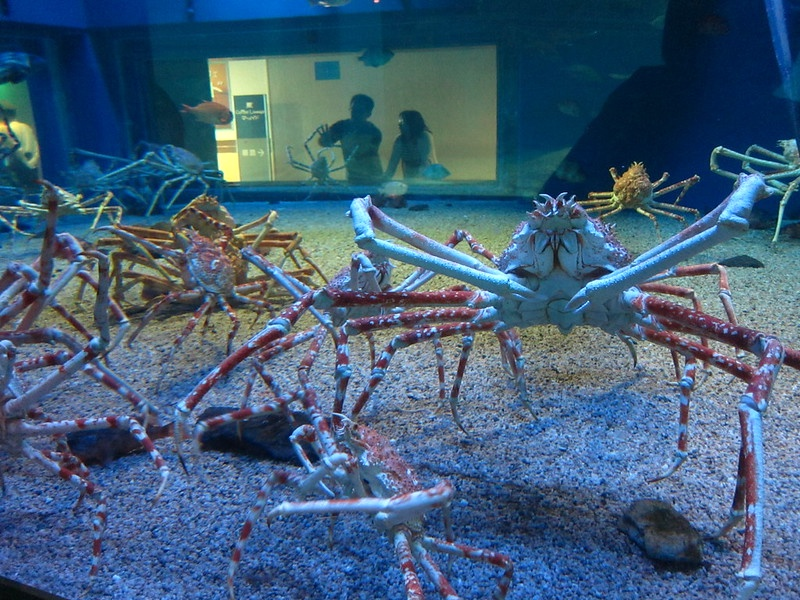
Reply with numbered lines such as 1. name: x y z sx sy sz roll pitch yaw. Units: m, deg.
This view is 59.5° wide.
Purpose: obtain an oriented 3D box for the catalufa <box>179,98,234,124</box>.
1. catalufa: -2.064 -2.006 7.481 0.691 0.306 0.114 7 48 7
